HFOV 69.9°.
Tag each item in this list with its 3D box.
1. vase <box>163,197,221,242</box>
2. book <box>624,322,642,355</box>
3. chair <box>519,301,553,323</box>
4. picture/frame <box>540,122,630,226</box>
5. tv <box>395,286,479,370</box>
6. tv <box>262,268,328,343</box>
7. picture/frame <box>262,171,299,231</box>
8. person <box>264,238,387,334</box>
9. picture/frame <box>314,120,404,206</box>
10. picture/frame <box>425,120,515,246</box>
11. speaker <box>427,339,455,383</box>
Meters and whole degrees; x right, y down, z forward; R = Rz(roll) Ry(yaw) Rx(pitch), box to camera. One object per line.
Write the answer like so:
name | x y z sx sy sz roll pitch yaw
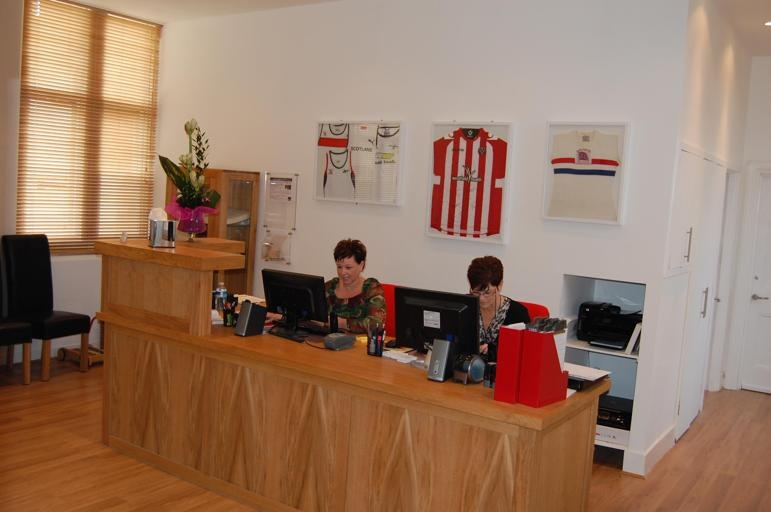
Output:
vase | -1.827 -0.326 5.234 0.477 0.337 0.530 5 7 36
book | 2.355 0.787 5.271 0.060 0.251 0.267 15 5 20
chair | 1.347 0.461 4.892 0.217 0.199 0.251 -18 17 -16
picture/frame | 1.944 -0.791 5.271 0.913 1.137 0.078 5 8 26
tv | 0.357 0.505 4.022 0.663 0.482 0.195 5 12 28
tv | -0.745 0.379 4.597 0.682 0.514 0.348 6 14 36
picture/frame | -1.261 -0.675 6.799 0.630 0.849 0.109 8 9 32
person | -0.354 0.367 4.977 0.690 1.017 0.591 -1 1 16
picture/frame | -0.246 -1.062 6.273 0.939 0.810 0.099 6 9 27
picture/frame | 0.925 -0.772 5.744 1.182 1.637 0.073 5 7 24
speaker | 0.394 0.729 3.889 0.172 0.284 0.132 -3 14 -27
